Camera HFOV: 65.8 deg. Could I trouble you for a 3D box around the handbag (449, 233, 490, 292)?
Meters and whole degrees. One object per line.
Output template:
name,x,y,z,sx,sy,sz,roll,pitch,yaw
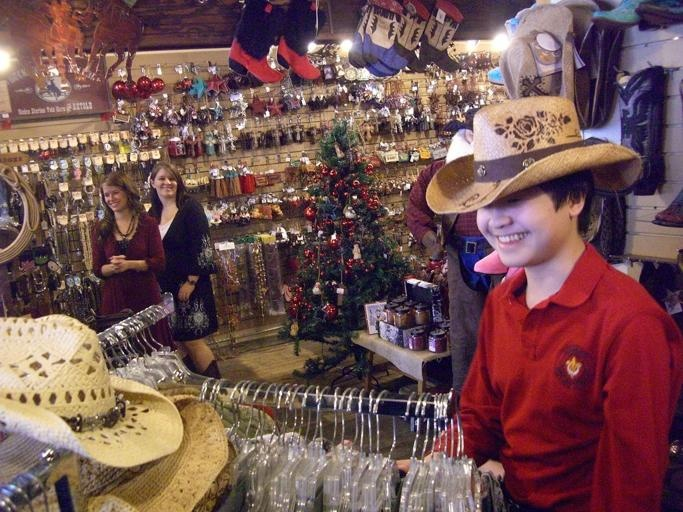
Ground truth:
handbag,0.914,0.024,3.715,0.295,0.442,0.142,-2,0,33

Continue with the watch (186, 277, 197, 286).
watch,-1.234,0.206,4.376,0.058,0.070,0.070,2,-5,3

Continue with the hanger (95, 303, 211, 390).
hanger,-0.739,0.371,2.063,0.380,0.223,0.580,-18,16,-13

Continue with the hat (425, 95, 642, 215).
hat,0.593,-0.329,1.616,0.531,0.269,0.475,-13,11,6

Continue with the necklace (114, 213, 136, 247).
necklace,-1.656,-0.205,4.094,0.127,0.205,0.033,1,-15,-7
